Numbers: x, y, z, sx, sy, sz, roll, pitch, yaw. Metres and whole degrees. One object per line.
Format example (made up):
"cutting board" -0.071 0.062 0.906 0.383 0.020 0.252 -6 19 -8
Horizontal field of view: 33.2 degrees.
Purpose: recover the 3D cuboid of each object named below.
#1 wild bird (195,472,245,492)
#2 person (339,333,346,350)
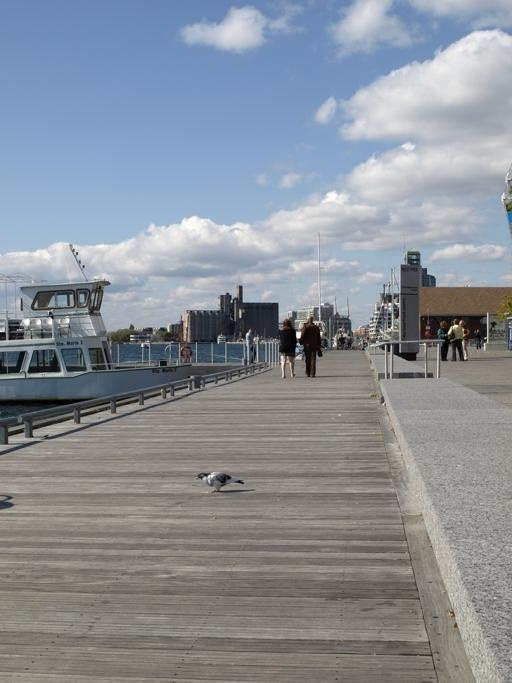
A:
"wild bird" -0.252 0.922 5.837 0.314 0.127 0.152 -10 -18 3
"person" 6.181 0.067 62.337 0.714 0.937 0.350 -1 -3 11
